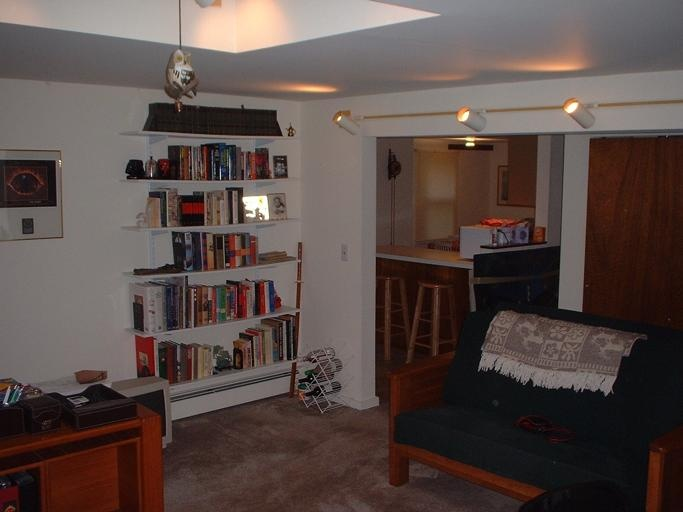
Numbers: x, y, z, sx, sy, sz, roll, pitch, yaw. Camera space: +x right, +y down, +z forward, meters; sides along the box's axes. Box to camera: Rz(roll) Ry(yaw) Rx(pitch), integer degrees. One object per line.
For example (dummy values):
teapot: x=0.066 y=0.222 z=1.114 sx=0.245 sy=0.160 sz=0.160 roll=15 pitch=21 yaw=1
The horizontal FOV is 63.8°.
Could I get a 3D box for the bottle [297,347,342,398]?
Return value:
bottle: x=-0.213 y=1.180 z=5.530 sx=0.485 sy=0.470 sz=0.188 roll=-5 pitch=-7 yaw=33
